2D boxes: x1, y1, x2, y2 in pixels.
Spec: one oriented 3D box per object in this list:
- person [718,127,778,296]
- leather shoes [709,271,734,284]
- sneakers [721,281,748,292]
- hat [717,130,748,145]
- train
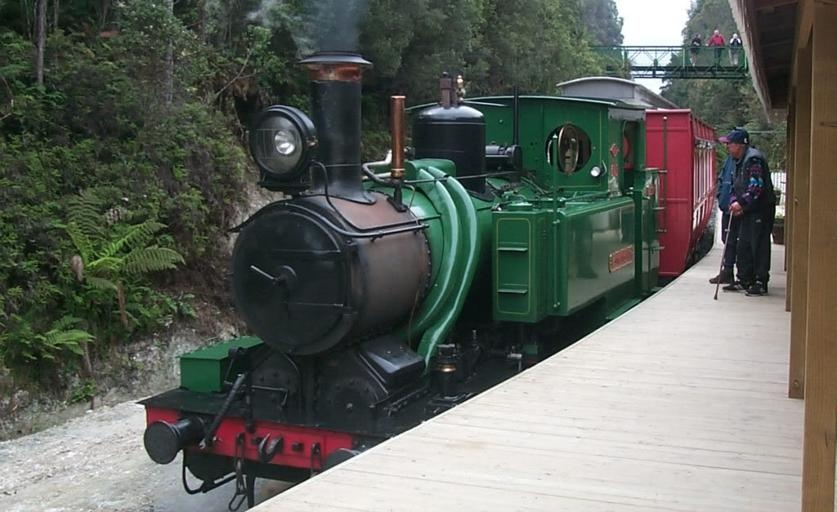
[{"bbox_3d":[5.037,-0.646,11.284,0.668,2.548,0.652,3,13,25],"label":"person"},{"bbox_3d":[4.999,0.365,12.172,0.373,0.259,0.138,7,12,12],"label":"leather shoes"},{"bbox_3d":[4.988,0.491,11.640,0.408,0.176,0.150,1,4,-5],"label":"sneakers"},{"bbox_3d":[4.852,-1.817,11.280,0.438,0.236,0.294,0,9,5],"label":"hat"},{"bbox_3d":[0.385,-0.015,9.277,2.678,4.933,7.172,7,15,40],"label":"train"}]
